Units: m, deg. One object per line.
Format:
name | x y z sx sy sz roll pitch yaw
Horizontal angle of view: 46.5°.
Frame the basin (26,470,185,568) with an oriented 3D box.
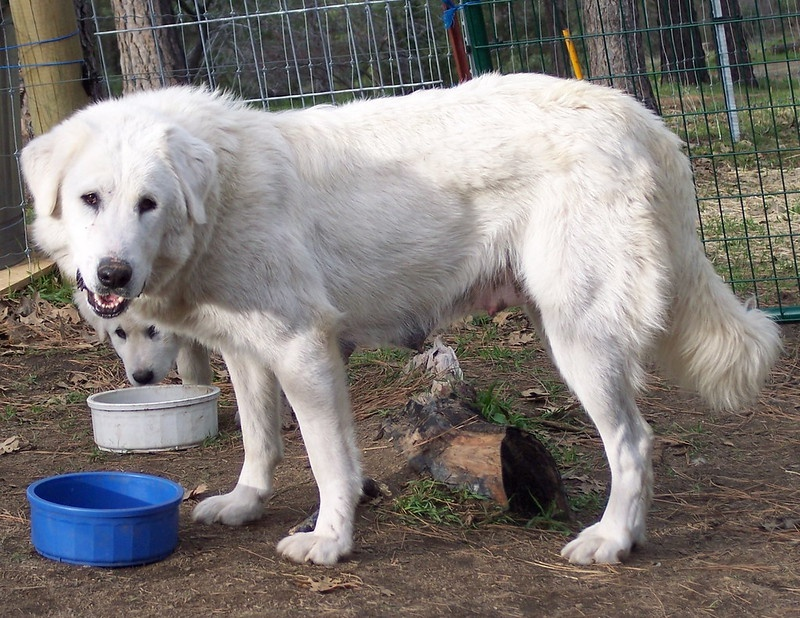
basin | -1.486 1.003 4.589 0.666 0.222 0.666 5 6 -1
